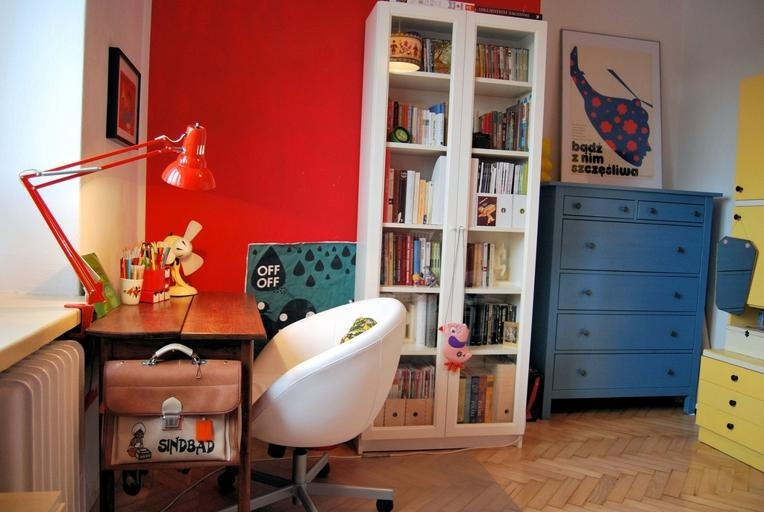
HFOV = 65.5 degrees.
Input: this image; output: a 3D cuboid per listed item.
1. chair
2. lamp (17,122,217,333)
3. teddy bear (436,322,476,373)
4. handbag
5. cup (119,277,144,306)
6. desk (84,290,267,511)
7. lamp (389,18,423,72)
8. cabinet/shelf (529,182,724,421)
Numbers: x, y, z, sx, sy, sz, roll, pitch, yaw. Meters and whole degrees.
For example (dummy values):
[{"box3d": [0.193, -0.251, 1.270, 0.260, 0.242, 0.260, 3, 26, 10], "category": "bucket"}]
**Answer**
[{"box3d": [-0.378, 0.727, 3.494, 1.044, 1.242, 1.162, 4, 2, -13], "category": "chair"}, {"box3d": [-1.381, -0.182, 3.110, 0.835, 0.970, 0.764, -5, 8, -32], "category": "lamp"}, {"box3d": [0.469, 0.586, 3.790, 0.206, 0.323, 0.147, -1, 7, -9], "category": "teddy bear"}, {"box3d": [-0.974, 0.706, 2.721, 0.519, 0.485, 0.237, 0, 5, -7], "category": "handbag"}, {"box3d": [-1.335, 0.188, 3.164, 0.122, 0.143, 0.118, 4, 2, 0], "category": "cup"}, {"box3d": [-1.013, 0.622, 3.323, 0.624, 0.817, 1.268, 0, 5, -4], "category": "desk"}, {"box3d": [0.138, -1.304, 3.673, 0.250, 0.300, 0.261, 1, 7, 4], "category": "lamp"}, {"box3d": [1.733, 0.319, 4.300, 1.587, 2.194, 0.801, 1, 1, -8], "category": "cabinet/shelf"}]
